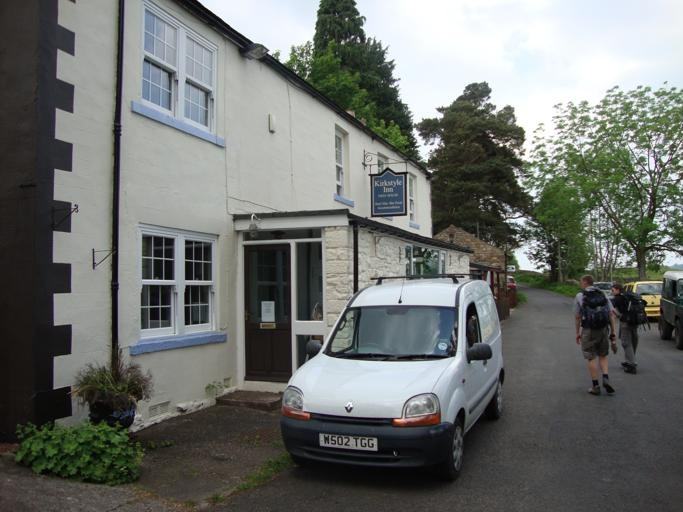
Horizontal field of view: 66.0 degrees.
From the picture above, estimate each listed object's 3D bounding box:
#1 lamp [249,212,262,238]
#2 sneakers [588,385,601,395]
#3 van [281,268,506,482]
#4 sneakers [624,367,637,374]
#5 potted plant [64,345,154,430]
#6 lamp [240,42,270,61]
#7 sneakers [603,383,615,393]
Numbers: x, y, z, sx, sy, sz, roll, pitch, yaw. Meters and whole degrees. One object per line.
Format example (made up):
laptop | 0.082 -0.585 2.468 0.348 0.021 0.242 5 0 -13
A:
lamp | -1.808 -0.620 10.907 0.205 0.500 0.567 0 -1 -11
sneakers | 5.093 2.680 10.624 0.136 0.208 0.299 -2 4 -9
van | 0.982 1.583 7.509 1.885 1.669 3.187 -4 -6 24
sneakers | 6.890 2.740 12.589 0.110 0.157 0.340 -6 -14 38
potted plant | -3.342 1.940 7.679 0.861 1.107 0.899 7 8 -1
lamp | -1.897 -4.471 11.472 0.541 0.239 0.353 0 -1 10
sneakers | 5.270 2.611 10.436 0.138 0.146 0.353 -10 -35 28
